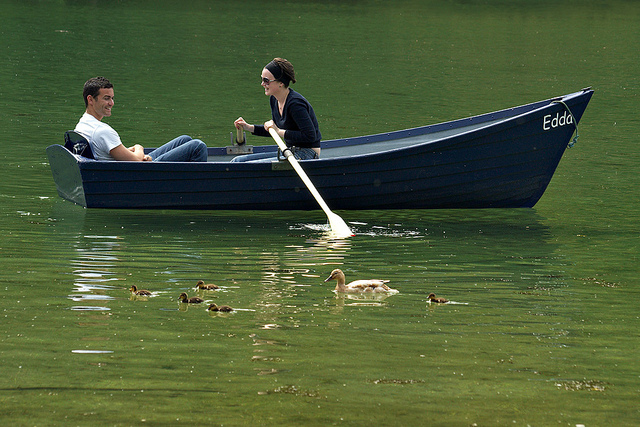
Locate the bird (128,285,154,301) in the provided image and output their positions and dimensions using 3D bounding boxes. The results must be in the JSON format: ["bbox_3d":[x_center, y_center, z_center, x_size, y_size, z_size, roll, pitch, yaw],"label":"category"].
[{"bbox_3d":[-2.578,1.163,16.541,0.394,0.166,0.159,-2,75,3],"label":"bird"}]

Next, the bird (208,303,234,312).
[{"bbox_3d":[-1.399,1.332,16.315,0.346,0.112,0.089,1,62,2],"label":"bird"}]

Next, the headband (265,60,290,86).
[{"bbox_3d":[-0.691,-2.305,19.163,0.432,0.396,0.264,10,36,13],"label":"headband"}]

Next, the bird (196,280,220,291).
[{"bbox_3d":[-1.627,1.059,16.806,0.351,0.091,0.128,2,-9,-2],"label":"bird"}]

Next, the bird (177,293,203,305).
[{"bbox_3d":[-1.838,1.214,16.425,0.362,0.115,0.140,15,33,24],"label":"bird"}]

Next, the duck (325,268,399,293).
[{"bbox_3d":[0.609,0.978,16.791,1.093,0.339,0.388,2,31,2],"label":"duck"}]

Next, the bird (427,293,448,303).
[{"bbox_3d":[1.681,1.197,16.584,0.272,0.114,0.242,-1,28,-5],"label":"bird"}]

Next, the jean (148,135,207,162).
[{"bbox_3d":[-2.403,-1.058,19.500,0.925,0.389,0.497,-3,31,-8],"label":"jean"}]

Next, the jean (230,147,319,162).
[{"bbox_3d":[-0.787,-0.976,20.085,1.018,0.123,0.469,-2,7,4],"label":"jean"}]

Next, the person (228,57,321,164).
[{"bbox_3d":[-0.576,-1.695,19.223,0.853,1.637,1.212,-23,42,-30],"label":"person"}]
